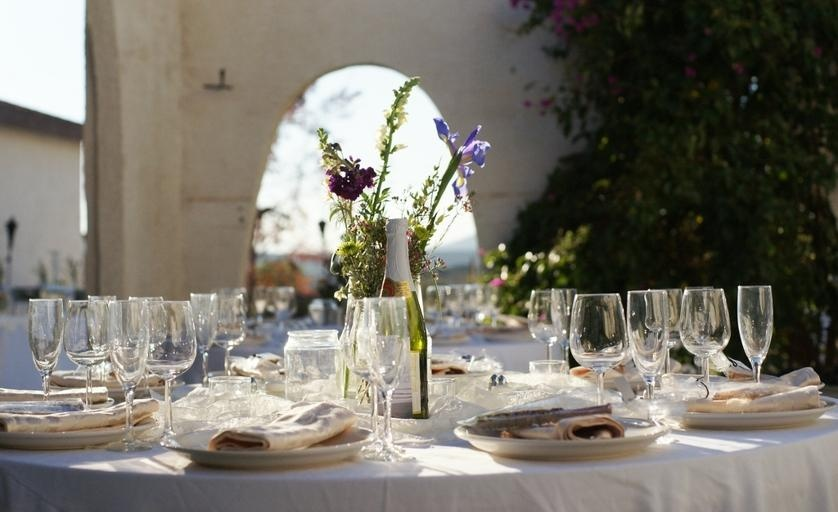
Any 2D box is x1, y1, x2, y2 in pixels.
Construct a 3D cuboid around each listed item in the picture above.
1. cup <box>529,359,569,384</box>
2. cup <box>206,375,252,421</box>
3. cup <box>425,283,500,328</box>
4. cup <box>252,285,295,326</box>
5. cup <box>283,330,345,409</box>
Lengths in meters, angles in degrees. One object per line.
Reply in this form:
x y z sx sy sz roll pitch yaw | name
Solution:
0.713 0.638 5.180 0.128 0.113 0.137 0 2 0 | cup
-0.974 0.724 4.919 0.186 0.250 0.204 1 -2 0 | cup
0.369 0.373 7.420 0.504 0.345 0.377 -3 5 -4 | cup
-1.090 0.351 7.123 0.270 0.354 0.274 0 3 0 | cup
-0.544 0.608 5.121 0.302 0.422 0.338 0 0 1 | cup
